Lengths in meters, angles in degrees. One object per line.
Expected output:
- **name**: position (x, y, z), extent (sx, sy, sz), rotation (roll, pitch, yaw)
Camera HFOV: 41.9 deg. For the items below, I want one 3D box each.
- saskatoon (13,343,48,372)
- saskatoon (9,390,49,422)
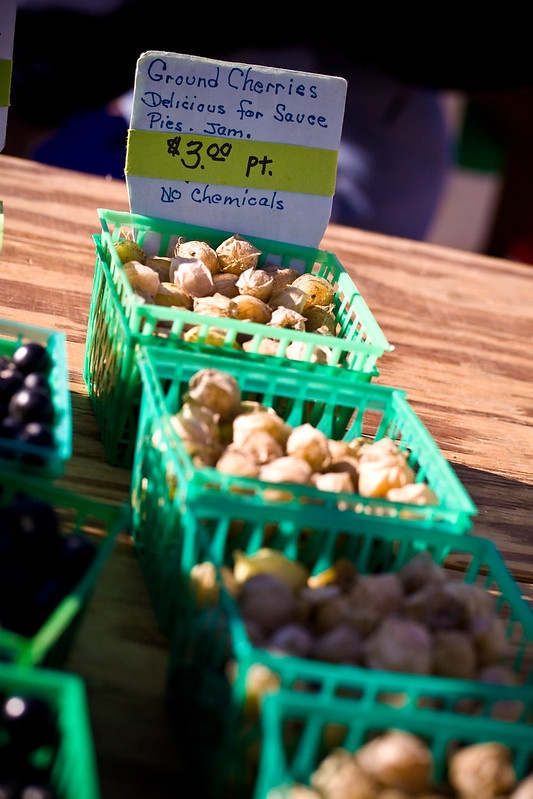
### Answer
- **saskatoon**: position (-0.169, -0.029, 0.502), extent (0.023, 0.025, 0.022), rotation (-4, -10, 2)
- **saskatoon**: position (-0.152, 0.005, 0.444), extent (0.029, 0.017, 0.020), rotation (9, 24, -1)
